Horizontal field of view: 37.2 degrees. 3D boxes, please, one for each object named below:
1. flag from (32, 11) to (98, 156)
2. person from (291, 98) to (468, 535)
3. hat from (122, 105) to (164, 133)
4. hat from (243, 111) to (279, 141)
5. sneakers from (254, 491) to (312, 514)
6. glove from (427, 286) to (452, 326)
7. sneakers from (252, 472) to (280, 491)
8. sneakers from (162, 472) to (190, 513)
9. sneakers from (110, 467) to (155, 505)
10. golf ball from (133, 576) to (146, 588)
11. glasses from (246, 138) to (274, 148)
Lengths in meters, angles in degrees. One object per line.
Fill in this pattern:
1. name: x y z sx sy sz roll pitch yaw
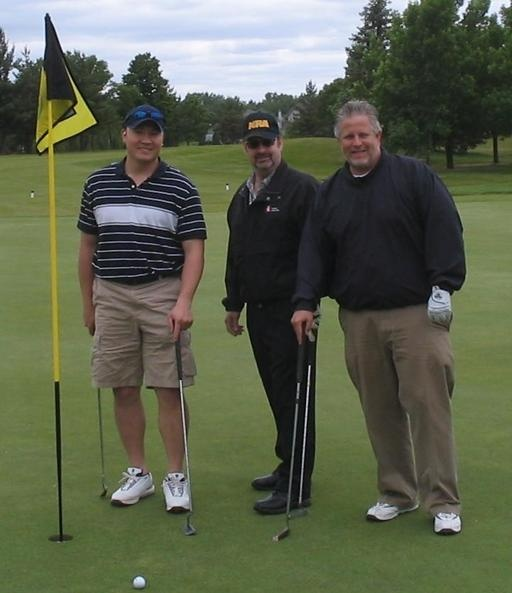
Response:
1. flag: -0.928 -1.015 3.686 0.311 0.599 0.682 -3 9 -15
2. person: 0.570 0.086 3.457 0.796 1.952 0.454 2 9 21
3. hat: -0.584 -0.922 3.910 0.211 0.147 0.260 -2 8 -7
4. hat: 0.030 -0.897 3.976 0.196 0.171 0.266 -1 8 0
5. sneakers: 0.136 0.992 3.715 0.278 0.119 0.102 1 0 -21
6. glove: 0.804 0.044 3.275 0.102 0.171 0.076 -2 -2 9
7. sneakers: 0.051 0.976 3.984 0.157 0.070 0.068 -3 43 -13
8. sneakers: -0.395 0.973 3.731 0.117 0.147 0.247 -2 8 -9
9. sneakers: -0.625 0.964 3.837 0.119 0.165 0.319 1 8 13
10. golf ball: -0.437 1.042 2.772 0.039 0.024 0.039 7 2 0
11. glasses: 0.022 -0.785 3.890 0.143 0.053 0.061 -1 8 -2
